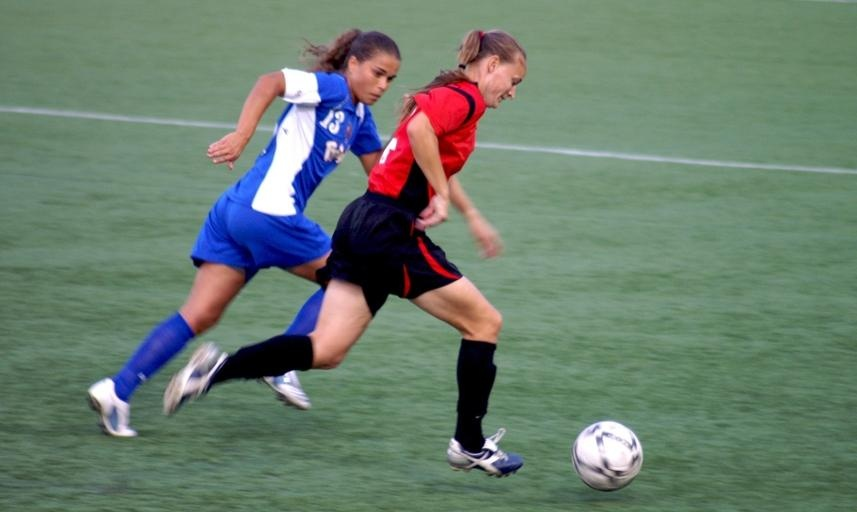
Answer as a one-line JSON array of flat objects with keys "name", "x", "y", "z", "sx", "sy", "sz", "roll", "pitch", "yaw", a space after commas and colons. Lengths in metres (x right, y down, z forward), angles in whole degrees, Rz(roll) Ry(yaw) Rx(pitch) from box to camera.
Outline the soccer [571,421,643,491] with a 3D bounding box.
[{"name": "soccer", "x": 1.147, "y": 1.295, "z": 7.583, "sx": 0.455, "sy": 0.396, "sz": 0.303, "roll": 13, "pitch": 26, "yaw": 10}]

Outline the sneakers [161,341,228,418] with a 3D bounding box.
[{"name": "sneakers", "x": -1.499, "y": 0.793, "z": 7.579, "sx": 0.243, "sy": 0.658, "sz": 0.258, "roll": 59, "pitch": -5, "yaw": 6}]

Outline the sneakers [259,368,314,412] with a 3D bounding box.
[{"name": "sneakers", "x": -0.975, "y": 0.921, "z": 8.028, "sx": 0.521, "sy": 0.182, "sz": 0.168, "roll": 21, "pitch": -1, "yaw": 12}]
